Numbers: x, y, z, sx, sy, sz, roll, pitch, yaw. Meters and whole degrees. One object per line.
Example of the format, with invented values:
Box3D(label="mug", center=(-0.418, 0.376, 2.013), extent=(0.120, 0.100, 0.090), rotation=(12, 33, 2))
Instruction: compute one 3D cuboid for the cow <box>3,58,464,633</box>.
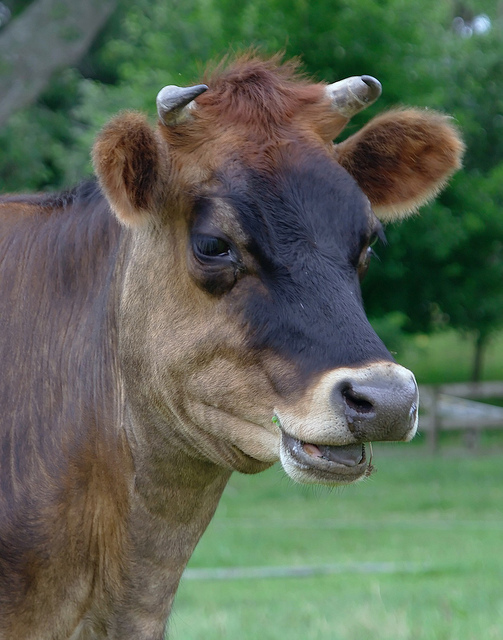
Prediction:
Box3D(label="cow", center=(-0.290, 0.107, 3.623), extent=(1.893, 1.971, 1.596), rotation=(-18, 37, 3))
